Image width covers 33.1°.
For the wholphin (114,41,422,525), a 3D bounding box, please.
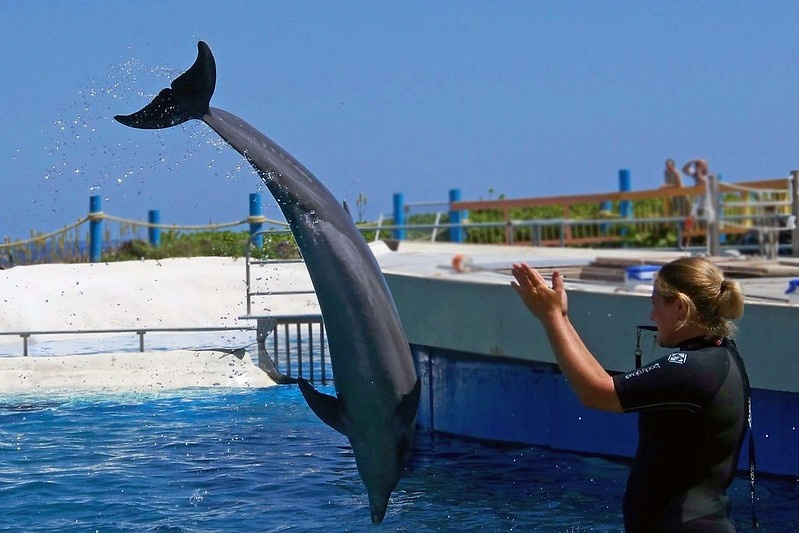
[{"bbox_3d":[-0.977,0.212,14.550,2.527,5.338,0.674,5,13,28],"label":"wholphin"}]
